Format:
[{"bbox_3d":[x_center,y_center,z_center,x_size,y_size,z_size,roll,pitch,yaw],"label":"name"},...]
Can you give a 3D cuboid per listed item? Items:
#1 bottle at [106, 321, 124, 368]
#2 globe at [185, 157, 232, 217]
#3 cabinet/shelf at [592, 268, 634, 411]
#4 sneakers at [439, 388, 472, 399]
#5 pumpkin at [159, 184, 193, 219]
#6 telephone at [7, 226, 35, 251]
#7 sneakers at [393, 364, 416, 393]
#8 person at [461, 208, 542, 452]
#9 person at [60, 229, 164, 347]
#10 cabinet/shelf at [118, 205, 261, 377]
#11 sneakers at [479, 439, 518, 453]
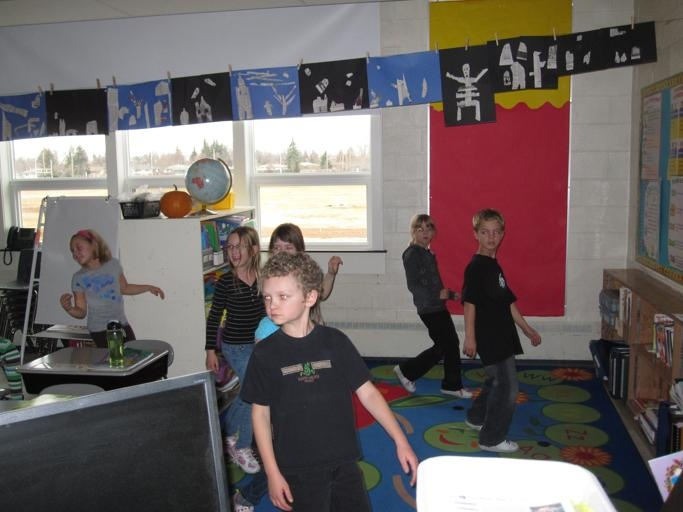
[{"bbox_3d":[-1.554,0.579,3.594,0.105,0.289,0.247,-6,11,-24],"label":"bottle"},{"bbox_3d":[-1.321,-0.690,5.157,0.433,0.556,0.457,0,-2,-3],"label":"globe"},{"bbox_3d":[2.506,0.782,4.830,0.297,0.959,1.040,2,8,13],"label":"cabinet/shelf"},{"bbox_3d":[1.076,1.270,4.897,0.241,0.104,0.107,-1,3,15],"label":"sneakers"},{"bbox_3d":[-1.488,-0.482,4.715,0.258,0.278,0.252,-2,8,-13],"label":"pumpkin"},{"bbox_3d":[-3.905,-0.199,6.378,0.247,0.274,0.258,2,5,-5],"label":"telephone"},{"bbox_3d":[0.595,1.179,5.028,0.137,0.341,0.121,-24,9,6],"label":"sneakers"},{"bbox_3d":[1.093,0.569,3.830,0.421,1.774,0.417,2,11,22],"label":"person"},{"bbox_3d":[-2.052,0.275,4.603,0.694,0.988,0.322,0,10,8],"label":"person"},{"bbox_3d":[-1.302,0.319,4.290,0.468,1.252,1.380,1,7,11],"label":"cabinet/shelf"},{"bbox_3d":[1.188,1.414,3.949,0.287,0.120,0.110,-4,15,1],"label":"sneakers"}]
